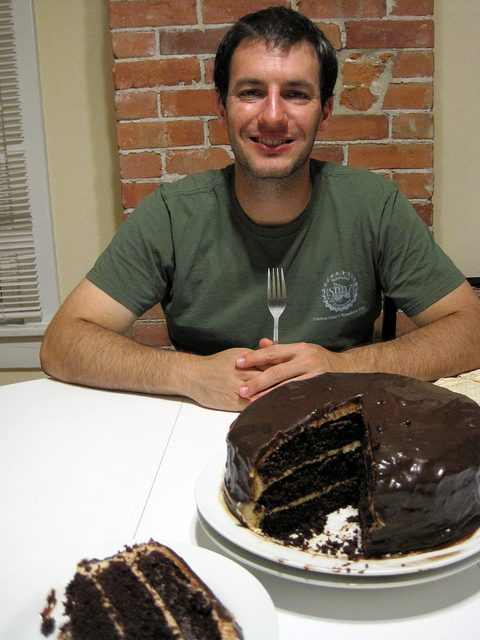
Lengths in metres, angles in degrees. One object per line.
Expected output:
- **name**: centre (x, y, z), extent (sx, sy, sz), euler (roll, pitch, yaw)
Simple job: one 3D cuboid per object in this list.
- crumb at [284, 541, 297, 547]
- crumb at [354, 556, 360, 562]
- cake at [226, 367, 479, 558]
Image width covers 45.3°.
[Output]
- **crumb**: centre (0.070, 0.321, 0.827), extent (0.022, 0.005, 0.006), euler (2, -5, 40)
- **crumb**: centre (0.160, 0.328, 0.787), extent (0.010, 0.003, 0.006), euler (8, -3, -34)
- **cake**: centre (0.190, 0.241, 0.979), extent (0.334, 0.100, 0.312), euler (0, 15, 7)
